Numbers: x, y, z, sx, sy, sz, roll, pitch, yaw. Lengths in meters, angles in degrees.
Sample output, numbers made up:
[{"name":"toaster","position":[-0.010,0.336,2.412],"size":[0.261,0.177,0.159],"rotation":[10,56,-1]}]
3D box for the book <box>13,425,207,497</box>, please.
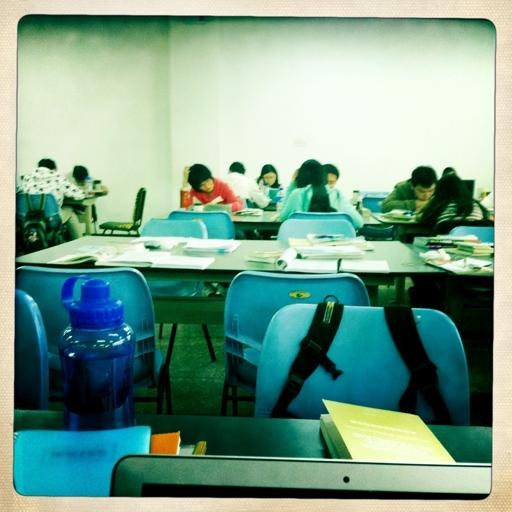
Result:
[{"name":"book","position":[-0.239,0.281,0.717],"size":[0.199,0.092,0.064],"rotation":[4,13,8]}]
